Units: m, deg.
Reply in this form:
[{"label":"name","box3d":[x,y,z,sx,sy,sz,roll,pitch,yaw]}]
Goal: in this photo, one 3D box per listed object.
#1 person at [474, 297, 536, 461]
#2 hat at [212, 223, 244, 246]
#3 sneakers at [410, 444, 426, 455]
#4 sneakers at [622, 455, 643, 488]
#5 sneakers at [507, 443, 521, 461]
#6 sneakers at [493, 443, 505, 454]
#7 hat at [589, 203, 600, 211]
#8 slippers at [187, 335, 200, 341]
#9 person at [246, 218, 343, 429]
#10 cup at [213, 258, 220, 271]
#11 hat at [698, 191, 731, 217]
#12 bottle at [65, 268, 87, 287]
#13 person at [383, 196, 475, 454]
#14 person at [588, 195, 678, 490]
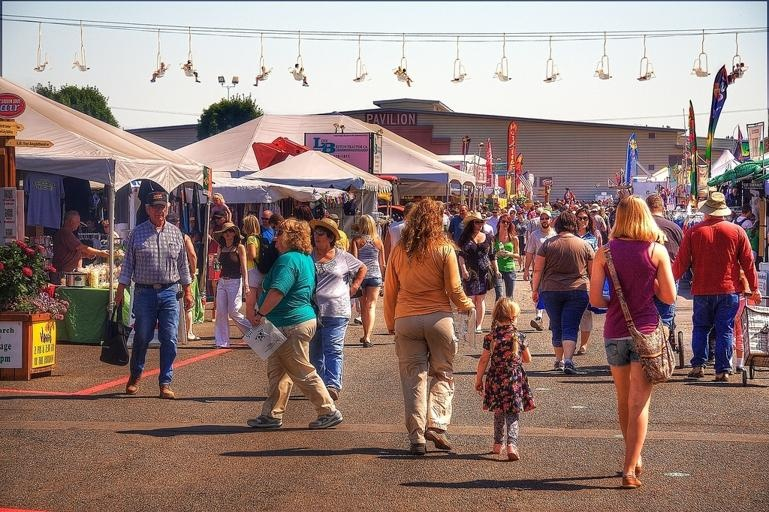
[{"label":"person","box3d":[1.465,1.491,14.522,0.619,1.857,0.706,-4,14,-16]},{"label":"hat","box3d":[-2.587,-0.345,19.917,0.375,0.428,0.225,-5,49,-5]},{"label":"sneakers","box3d":[0.426,2.334,14.586,0.215,0.149,0.130,-3,14,-11]},{"label":"sneakers","box3d":[2.897,2.539,13.981,0.146,0.179,0.447,0,7,11]},{"label":"sneakers","box3d":[1.542,2.357,14.434,0.097,0.231,0.106,-4,40,6]},{"label":"sneakers","box3d":[1.397,2.352,14.618,0.109,0.127,0.145,1,-17,2]},{"label":"hat","box3d":[5.427,-1.254,30.730,0.349,0.171,0.505,0,1,7]},{"label":"slippers","box3d":[-3.286,1.413,20.631,0.142,0.058,0.073,0,5,-9]},{"label":"person","box3d":[-1.177,0.906,15.385,1.047,2.617,0.745,-1,14,-7]},{"label":"cup","box3d":[-2.791,0.155,19.820,0.101,0.181,0.171,0,-6,-3]},{"label":"hat","box3d":[4.818,-0.726,17.506,0.367,0.201,0.383,4,18,-4]},{"label":"bottle","box3d":[-5.202,0.365,20.203,0.267,0.242,0.261,-2,-3,28]},{"label":"person","box3d":[0.523,0.852,14.755,0.897,2.936,1.070,-3,14,-11]},{"label":"person","box3d":[2.921,0.976,13.937,0.859,3.236,1.009,-4,14,-15]}]
